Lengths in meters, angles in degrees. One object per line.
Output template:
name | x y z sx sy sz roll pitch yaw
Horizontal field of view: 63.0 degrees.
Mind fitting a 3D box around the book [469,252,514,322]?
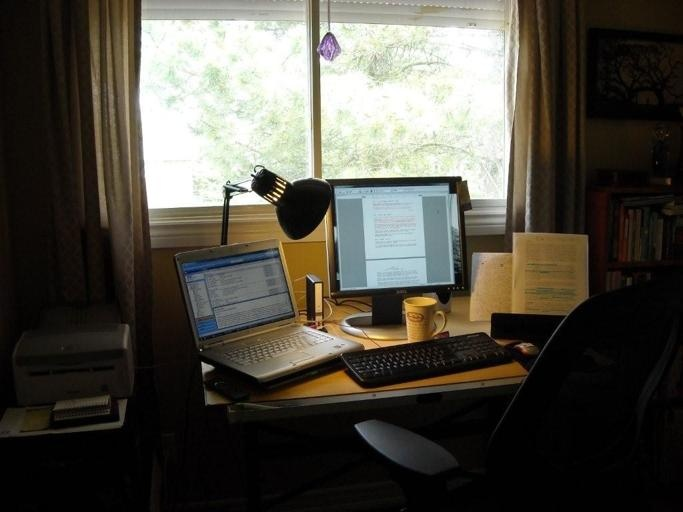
book | 0.560 0.112 2.087 0.187 0.246 0.013 -2 5 -22

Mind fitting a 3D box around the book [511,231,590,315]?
book | 0.743 0.068 1.991 0.284 0.334 0.037 2 -11 2

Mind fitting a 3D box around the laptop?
laptop | -0.242 0.158 1.862 0.554 0.322 0.542 -5 13 -28

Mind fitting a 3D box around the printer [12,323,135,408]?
printer | -0.871 0.338 1.844 0.330 0.207 0.220 -2 11 -15

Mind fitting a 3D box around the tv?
tv | 0.198 -0.001 2.192 0.563 0.593 0.330 -2 7 -11

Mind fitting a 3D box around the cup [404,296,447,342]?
cup | 0.296 0.233 1.914 0.141 0.133 0.096 4 6 26
